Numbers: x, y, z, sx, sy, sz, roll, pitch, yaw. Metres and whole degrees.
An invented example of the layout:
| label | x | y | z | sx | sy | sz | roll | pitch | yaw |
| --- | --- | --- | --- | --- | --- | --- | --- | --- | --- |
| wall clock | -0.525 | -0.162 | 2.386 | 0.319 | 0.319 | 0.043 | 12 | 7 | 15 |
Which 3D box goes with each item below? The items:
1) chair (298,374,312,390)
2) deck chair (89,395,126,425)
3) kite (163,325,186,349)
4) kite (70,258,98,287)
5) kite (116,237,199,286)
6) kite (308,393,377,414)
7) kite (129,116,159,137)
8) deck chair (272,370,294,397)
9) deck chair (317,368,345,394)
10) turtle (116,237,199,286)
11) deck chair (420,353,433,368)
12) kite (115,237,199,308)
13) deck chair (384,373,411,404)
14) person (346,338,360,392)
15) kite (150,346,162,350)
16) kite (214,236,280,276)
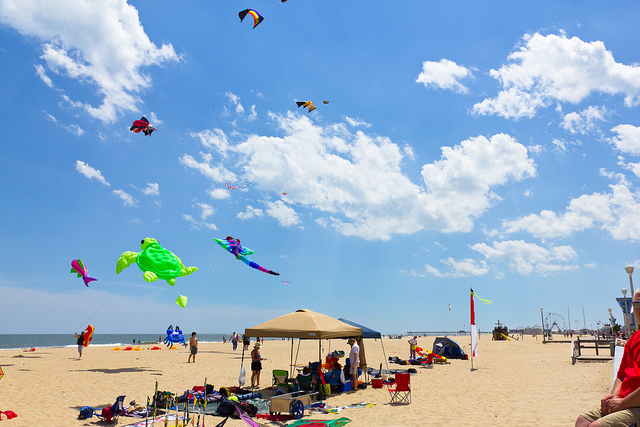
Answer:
| label | x | y | z | sx | sy | sz | roll | pitch | yaw |
| --- | --- | --- | --- | --- | --- | --- | --- | --- | --- |
| chair | -0.653 | 7.195 | 20.202 | 0.464 | 0.792 | 0.557 | 2 | 20 | 3 |
| deck chair | -7.952 | 7.280 | 17.658 | 1.090 | 0.602 | 0.675 | -5 | -19 | 2 |
| kite | -11.321 | 9.530 | 36.761 | 1.133 | 1.325 | 2.482 | 8 | -17 | -16 |
| kite | -12.924 | 3.201 | 25.650 | 0.839 | 1.386 | 1.502 | 16 | -21 | -37 |
| kite | -8.654 | 2.518 | 25.390 | 3.479 | 1.428 | 4.170 | 23 | 15 | 18 |
| kite | 0.987 | 7.796 | 18.982 | 2.608 | 0.414 | 0.650 | 10 | -18 | -22 |
| kite | -9.355 | -4.501 | 24.678 | 0.988 | 1.006 | 0.883 | 7 | -17 | -13 |
| deck chair | -1.767 | 7.354 | 20.945 | 0.692 | 1.377 | 0.974 | 1 | -23 | 4 |
| deck chair | 0.690 | 7.456 | 21.071 | 0.963 | 0.961 | 0.253 | 15 | -20 | -34 |
| turtle | -7.928 | 2.349 | 22.329 | 2.261 | 0.914 | 2.817 | 34 | 16 | 31 |
| deck chair | 6.438 | 8.902 | 28.379 | 0.676 | 0.758 | 0.574 | 4 | -38 | 2 |
| kite | -8.292 | 2.831 | 25.006 | 4.973 | 1.204 | 4.554 | 34 | 21 | 26 |
| deck chair | 3.459 | 7.324 | 19.562 | 1.101 | 1.216 | 1.000 | 12 | -32 | -12 |
| person | 1.539 | 6.844 | 21.521 | 0.541 | 2.273 | 0.922 | 2 | -16 | 5 |
| kite | -15.141 | 12.416 | 43.671 | 0.730 | 0.235 | 4.778 | 8 | -18 | -17 |
| kite | -3.358 | 1.678 | 19.872 | 2.685 | 0.731 | 1.930 | 29 | 21 | 20 |
